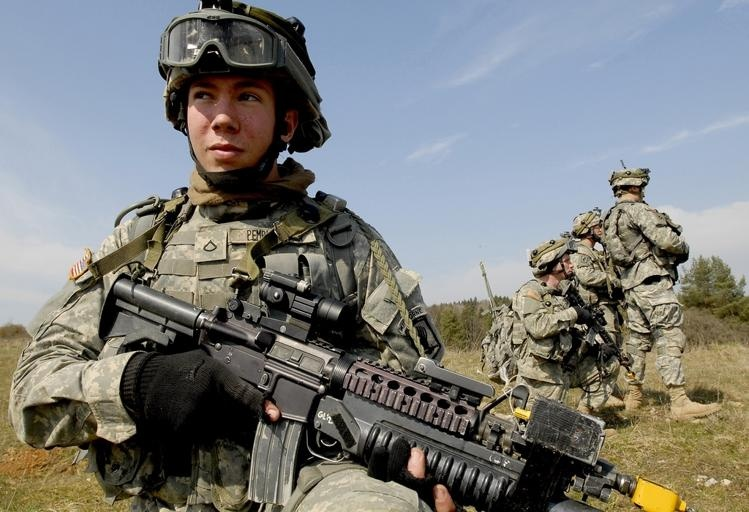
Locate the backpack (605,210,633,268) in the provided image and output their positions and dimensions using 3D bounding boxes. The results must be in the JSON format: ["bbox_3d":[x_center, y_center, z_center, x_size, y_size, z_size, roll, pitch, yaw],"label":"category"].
[{"bbox_3d":[4.086,-0.290,10.543,0.265,0.897,0.612,-2,-14,-24],"label":"backpack"}]

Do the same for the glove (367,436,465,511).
[{"bbox_3d":[0.227,1.529,4.333,0.537,0.509,0.182,-2,4,8],"label":"glove"}]

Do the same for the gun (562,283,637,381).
[{"bbox_3d":[3.517,1.225,9.652,0.610,1.782,0.152,-37,2,-28],"label":"gun"}]

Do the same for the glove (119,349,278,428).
[{"bbox_3d":[-1.440,0.954,4.649,1.046,0.693,0.348,5,-13,30],"label":"glove"}]
